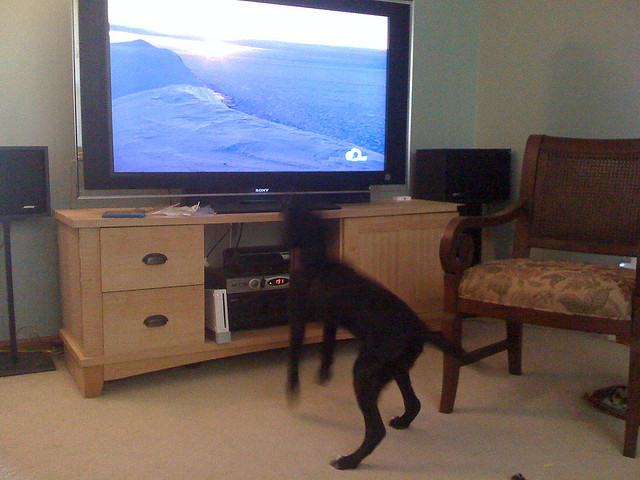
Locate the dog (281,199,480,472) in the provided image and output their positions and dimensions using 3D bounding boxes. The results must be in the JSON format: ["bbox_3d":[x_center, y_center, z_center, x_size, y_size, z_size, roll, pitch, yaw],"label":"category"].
[{"bbox_3d":[0.157,0.337,1.392,0.425,0.935,0.391,3,15,11],"label":"dog"}]

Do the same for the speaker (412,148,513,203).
[{"bbox_3d":[0.893,-0.390,3.274,0.488,0.276,0.416,-3,5,-23],"label":"speaker"}]

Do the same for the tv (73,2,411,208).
[{"bbox_3d":[-0.452,-0.693,2.637,1.689,0.872,0.060,-1,12,-15],"label":"tv"}]
